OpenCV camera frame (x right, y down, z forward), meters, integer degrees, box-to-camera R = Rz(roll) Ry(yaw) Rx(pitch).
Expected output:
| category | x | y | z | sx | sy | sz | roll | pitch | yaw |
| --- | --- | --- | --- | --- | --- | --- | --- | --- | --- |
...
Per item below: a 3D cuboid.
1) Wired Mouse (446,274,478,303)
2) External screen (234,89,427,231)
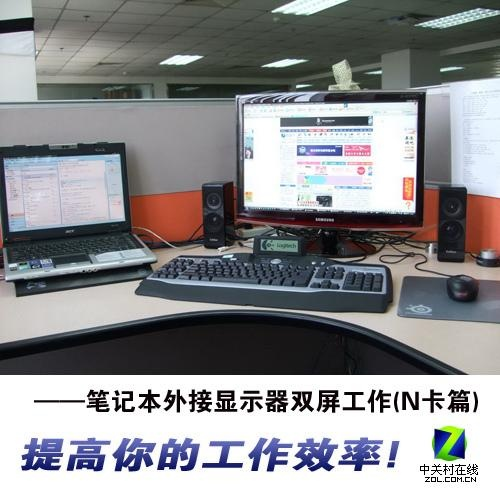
| category | x | y | z | sx | sy | sz | roll | pitch | yaw |
| --- | --- | --- | --- | --- | --- | --- | --- | --- | --- |
| Wired Mouse | 0.448 | 0.078 | 0.947 | 0.044 | 0.023 | 0.070 | 2 | 18 | 18 |
| External screen | 0.218 | -0.252 | 1.333 | 0.634 | 0.382 | 0.081 | -5 | 13 | -22 |
